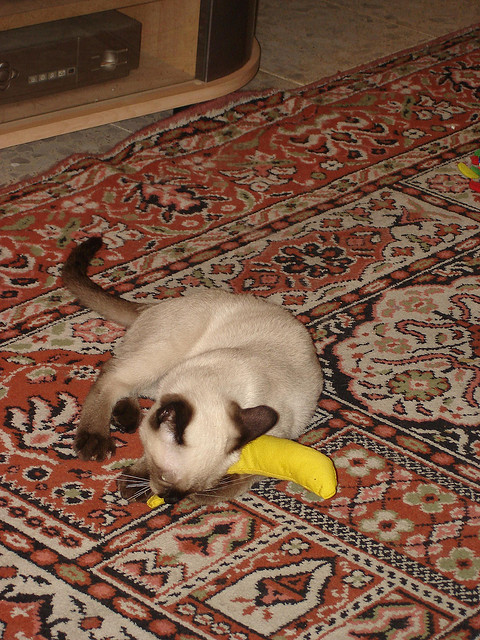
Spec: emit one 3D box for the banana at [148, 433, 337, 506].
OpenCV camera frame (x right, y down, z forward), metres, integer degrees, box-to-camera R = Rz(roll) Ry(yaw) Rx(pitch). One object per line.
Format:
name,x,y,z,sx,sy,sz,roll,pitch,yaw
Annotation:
banana,0.010,0.281,1.319,0.338,0.080,0.121,-5,72,13

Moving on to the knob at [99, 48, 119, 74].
knob,-0.500,-0.989,2.576,0.071,0.078,0.026,-1,23,-18

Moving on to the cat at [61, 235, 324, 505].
cat,-0.129,0.038,1.663,0.636,0.296,0.775,-12,57,-13
